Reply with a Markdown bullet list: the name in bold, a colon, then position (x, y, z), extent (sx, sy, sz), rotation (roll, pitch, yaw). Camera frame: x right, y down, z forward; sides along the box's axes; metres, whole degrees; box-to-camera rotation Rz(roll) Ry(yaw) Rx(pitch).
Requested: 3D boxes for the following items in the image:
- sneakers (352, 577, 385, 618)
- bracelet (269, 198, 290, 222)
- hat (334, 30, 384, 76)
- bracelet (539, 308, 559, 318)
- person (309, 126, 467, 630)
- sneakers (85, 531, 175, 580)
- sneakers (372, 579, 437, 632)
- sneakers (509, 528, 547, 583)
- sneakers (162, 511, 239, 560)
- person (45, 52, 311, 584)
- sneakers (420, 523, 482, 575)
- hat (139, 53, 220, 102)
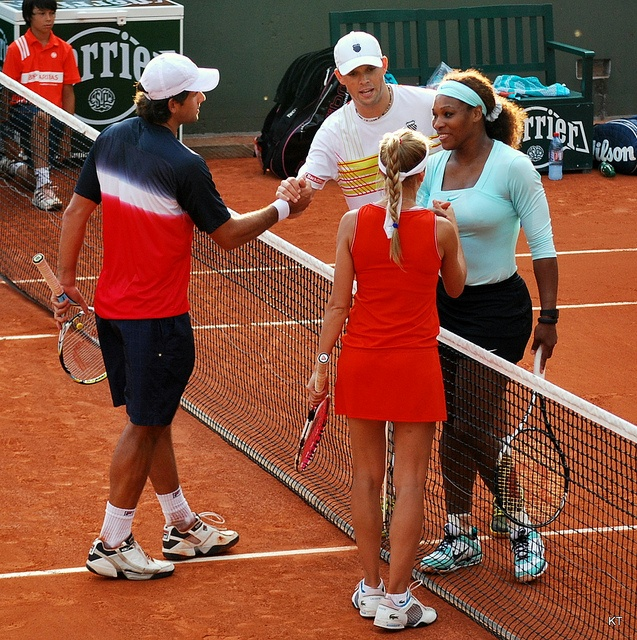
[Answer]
- **sneakers**: position (0.199, 1.102, 3.205), extent (0.081, 0.082, 0.193), rotation (0, 3, 1)
- **bracelet**: position (-0.187, -0.507, 3.707), extent (0.094, 0.098, 0.103), rotation (11, 16, 33)
- **hat**: position (0.196, -1.379, 4.123), extent (0.253, 0.188, 0.344), rotation (-11, 23, 2)
- **bracelet**: position (1.027, -0.029, 3.519), extent (0.064, 0.036, 0.048), rotation (1, -1, -6)
- **person**: position (0.251, 0.258, 3.029), extent (0.558, 1.914, 0.364), rotation (3, 8, 7)
- **sneakers**: position (-0.817, 1.020, 3.510), extent (0.421, 0.208, 0.153), rotation (5, -1, -11)
- **sneakers**: position (0.407, 1.111, 3.119), extent (0.291, 0.127, 0.106), rotation (-27, -22, 37)
- **sneakers**: position (0.932, 1.027, 3.632), extent (0.116, 0.141, 0.315), rotation (-24, 9, 12)
- **sneakers**: position (-0.548, 1.003, 3.779), extent (0.428, 0.212, 0.162), rotation (-3, 0, -17)
- **person**: position (-0.682, 0.014, 3.416), extent (0.886, 2.214, 0.503), rotation (1, 8, -4)
- **sneakers**: position (0.596, 1.015, 3.622), extent (0.331, 0.209, 0.115), rotation (-3, -4, -31)
- **hat**: position (-0.553, -0.983, 3.221), extent (0.328, 0.163, 0.203), rotation (-6, 39, -6)
